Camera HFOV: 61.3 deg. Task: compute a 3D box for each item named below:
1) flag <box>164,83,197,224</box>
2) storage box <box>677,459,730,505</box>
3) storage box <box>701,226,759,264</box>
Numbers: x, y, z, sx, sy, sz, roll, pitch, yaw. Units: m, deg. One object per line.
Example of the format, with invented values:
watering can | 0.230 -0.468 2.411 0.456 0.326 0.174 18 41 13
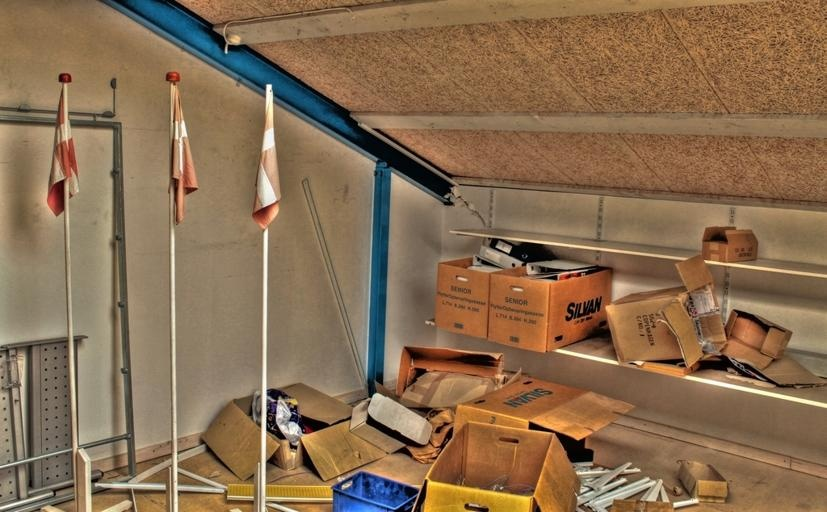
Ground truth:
flag | -1.278 -0.564 3.827 0.132 0.768 0.274 -6 15 -16
storage box | 1.889 1.491 4.615 0.192 0.089 0.281 3 9 -7
storage box | 2.086 -0.045 4.717 0.418 0.234 0.270 -2 4 -29
